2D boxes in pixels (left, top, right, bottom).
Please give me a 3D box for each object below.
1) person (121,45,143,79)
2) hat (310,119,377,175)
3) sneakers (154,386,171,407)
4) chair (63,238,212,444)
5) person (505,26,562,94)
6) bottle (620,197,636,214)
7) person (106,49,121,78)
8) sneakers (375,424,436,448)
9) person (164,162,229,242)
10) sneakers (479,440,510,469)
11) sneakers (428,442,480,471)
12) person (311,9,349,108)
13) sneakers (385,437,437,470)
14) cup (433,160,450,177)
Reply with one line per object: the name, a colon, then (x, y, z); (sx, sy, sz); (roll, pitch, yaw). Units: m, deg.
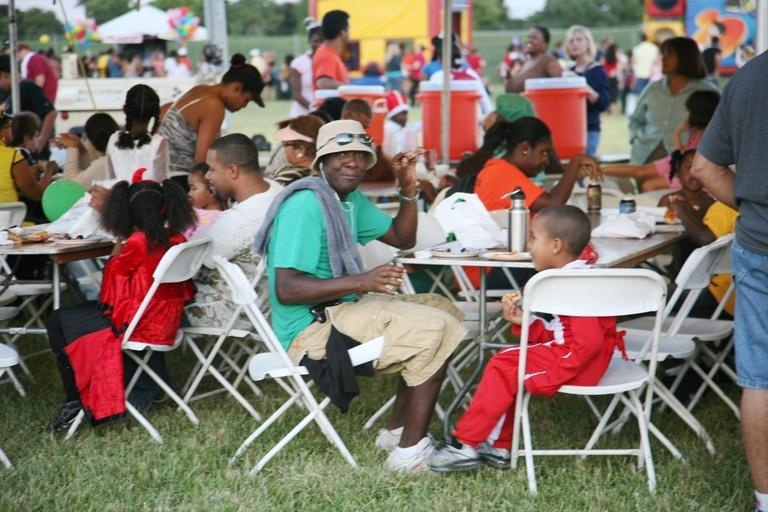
person: (-6.077, -4.612, 22.660); (0.479, 0.541, 2.308); (-6, 17, -14)
hat: (-0.305, -0.732, 6.254); (0.310, 0.187, 0.361); (1, -10, -16)
sneakers: (-1.649, 1.049, 6.979); (0.129, 0.139, 0.145); (0, -5, 4)
chair: (-1.494, 0.526, 6.497); (0.663, 1.290, 0.358); (-3, 17, -5)
person: (1.639, -2.136, 10.348); (0.555, 0.727, 0.843); (-3, 17, -5)
bottle: (1.862, -0.389, 7.298); (0.136, 0.126, 0.139); (2, 3, 36)
person: (-6.559, -4.625, 22.807); (0.361, 0.523, 1.310); (-6, 17, -15)
sneakers: (0.119, 1.199, 6.220); (0.426, 0.179, 0.150); (-4, 7, -25)
person: (-1.317, -0.394, 7.198); (0.379, 0.577, 0.741); (3, 10, 1)
sneakers: (0.703, 1.288, 6.019); (0.248, 0.106, 0.095); (4, 1, 16)
sneakers: (0.429, 1.265, 5.927); (0.378, 0.176, 0.142); (0, 1, -1)
person: (-0.696, -2.574, 11.965); (0.475, 1.034, 0.722); (-3, 17, -4)
sneakers: (0.155, 1.261, 5.967); (0.354, 0.159, 0.149); (-15, 19, -39)
cup: (0.547, -0.841, 9.153); (0.154, 0.110, 0.150); (-1, -1, 0)
